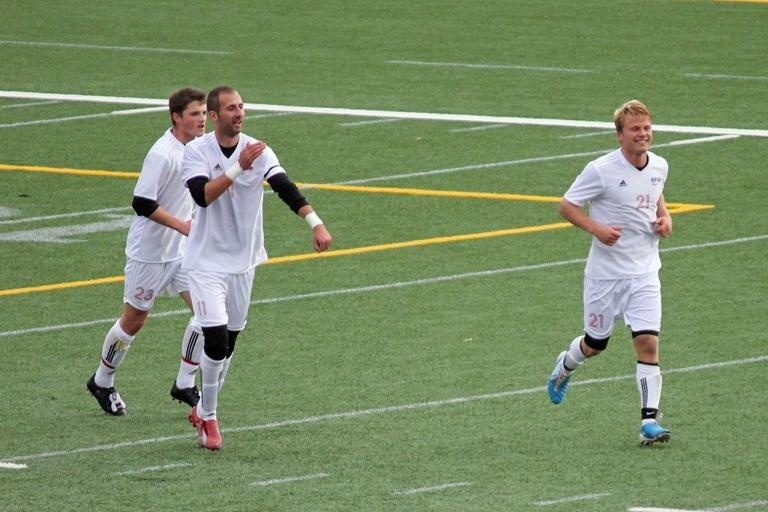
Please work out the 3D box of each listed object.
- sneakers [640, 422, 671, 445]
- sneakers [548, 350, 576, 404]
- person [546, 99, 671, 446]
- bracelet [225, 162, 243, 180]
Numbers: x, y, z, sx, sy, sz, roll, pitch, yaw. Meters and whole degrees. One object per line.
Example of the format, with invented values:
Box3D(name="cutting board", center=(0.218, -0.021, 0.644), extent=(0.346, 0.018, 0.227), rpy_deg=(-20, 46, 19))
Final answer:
Box3D(name="sneakers", center=(2.616, 1.697, 13.106), extent=(0.390, 0.187, 0.151), rpy_deg=(-17, 5, 42))
Box3D(name="sneakers", center=(1.773, 1.221, 13.821), extent=(0.256, 0.535, 0.277), rpy_deg=(8, 23, -4))
Box3D(name="person", center=(2.400, 0.120, 13.487), extent=(1.086, 3.247, 1.206), rpy_deg=(-16, 18, -40))
Box3D(name="bracelet", center=(-1.415, -0.802, 13.001), extent=(0.128, 0.188, 0.117), rpy_deg=(10, 45, -54))
